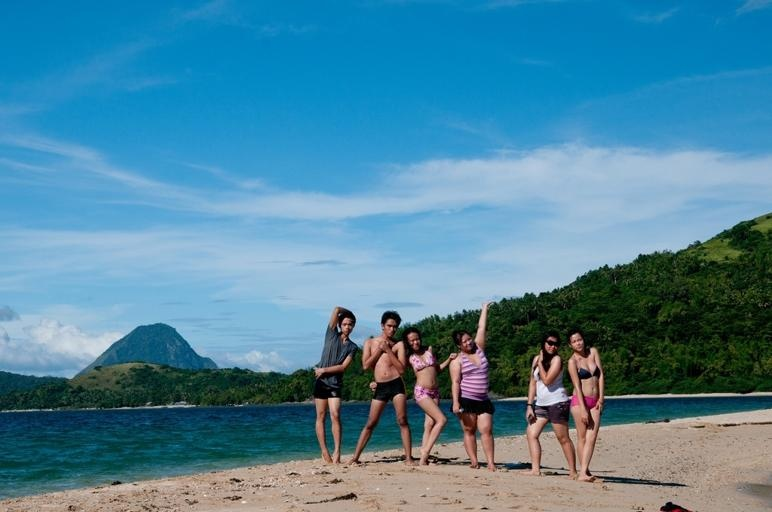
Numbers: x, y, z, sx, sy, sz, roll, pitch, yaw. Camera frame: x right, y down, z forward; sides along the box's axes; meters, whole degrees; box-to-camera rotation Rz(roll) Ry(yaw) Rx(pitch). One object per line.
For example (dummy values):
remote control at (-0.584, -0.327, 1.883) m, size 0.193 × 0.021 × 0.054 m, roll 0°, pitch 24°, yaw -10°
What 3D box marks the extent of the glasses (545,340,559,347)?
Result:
glasses at (4.362, 2.226, 15.897) m, size 0.339 × 0.176 × 0.171 m, roll 2°, pitch -12°, yaw -15°
